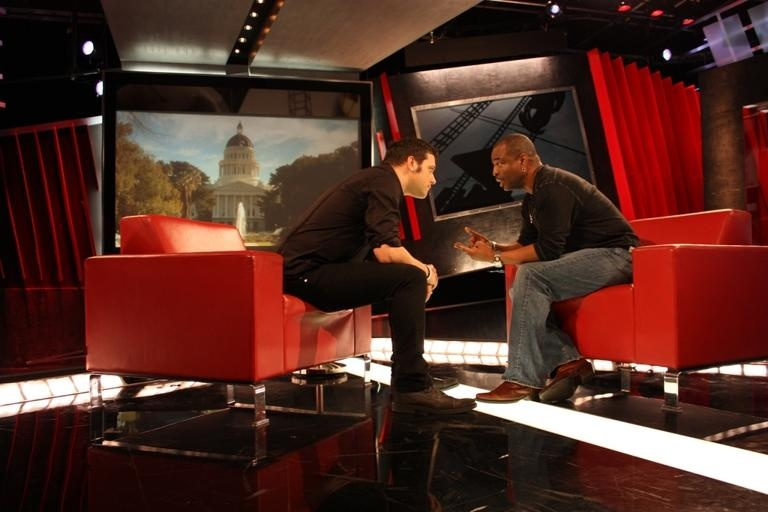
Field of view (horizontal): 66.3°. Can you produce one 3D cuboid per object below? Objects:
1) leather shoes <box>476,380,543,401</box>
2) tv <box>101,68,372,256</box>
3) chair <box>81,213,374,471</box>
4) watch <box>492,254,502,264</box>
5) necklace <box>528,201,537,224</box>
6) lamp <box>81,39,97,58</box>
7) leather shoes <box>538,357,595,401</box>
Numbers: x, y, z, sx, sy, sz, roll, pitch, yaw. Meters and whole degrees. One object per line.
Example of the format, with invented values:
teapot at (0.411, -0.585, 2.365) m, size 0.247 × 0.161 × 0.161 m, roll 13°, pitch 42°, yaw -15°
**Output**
leather shoes at (0.722, 0.800, 3.533) m, size 0.433 × 0.168 × 0.143 m, roll 1°, pitch -7°, yaw 4°
tv at (-1.278, -0.803, 4.776) m, size 1.911 × 1.152 × 0.045 m, roll 0°, pitch 0°, yaw -9°
chair at (-0.902, 0.469, 3.787) m, size 1.281 × 1.211 × 1.535 m, roll -3°, pitch -6°, yaw 16°
watch at (0.753, 0.014, 3.916) m, size 0.050 × 0.066 × 0.073 m, roll 0°, pitch 10°, yaw -11°
necklace at (0.970, -0.271, 3.865) m, size 0.067 × 0.085 × 0.033 m, roll -1°, pitch -3°, yaw 26°
lamp at (-3.852, -2.709, 7.647) m, size 0.206 × 0.193 × 0.079 m, roll 1°, pitch 8°, yaw 13°
leather shoes at (1.082, 0.727, 3.534) m, size 0.250 × 0.081 × 0.174 m, roll -30°, pitch 29°, yaw -16°
